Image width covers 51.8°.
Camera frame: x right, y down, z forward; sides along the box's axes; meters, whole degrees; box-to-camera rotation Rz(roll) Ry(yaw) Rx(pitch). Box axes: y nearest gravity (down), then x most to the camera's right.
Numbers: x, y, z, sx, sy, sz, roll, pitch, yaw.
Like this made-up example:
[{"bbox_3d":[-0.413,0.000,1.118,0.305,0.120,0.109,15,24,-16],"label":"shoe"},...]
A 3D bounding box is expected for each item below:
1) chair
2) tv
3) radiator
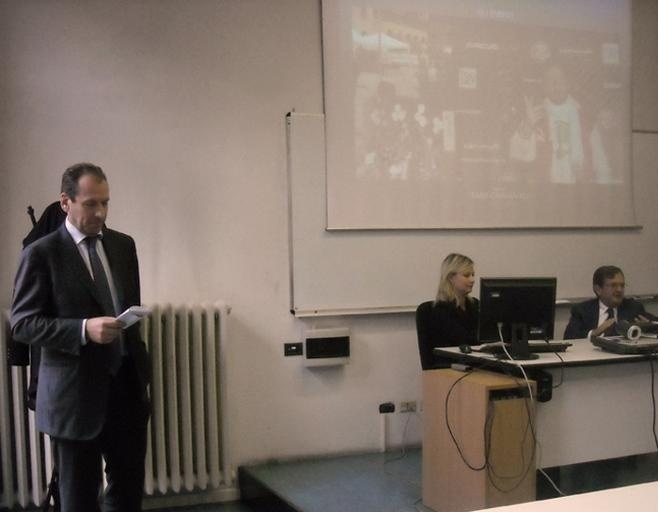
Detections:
[{"bbox_3d":[0.754,0.563,4.882,0.379,0.582,0.451,1,-12,-7],"label":"chair"},{"bbox_3d":[1.088,0.356,3.947,0.401,0.461,0.157,0,5,-5],"label":"tv"},{"bbox_3d":[-1.184,0.821,3.719,1.206,1.184,0.227,0,0,-14],"label":"radiator"}]
